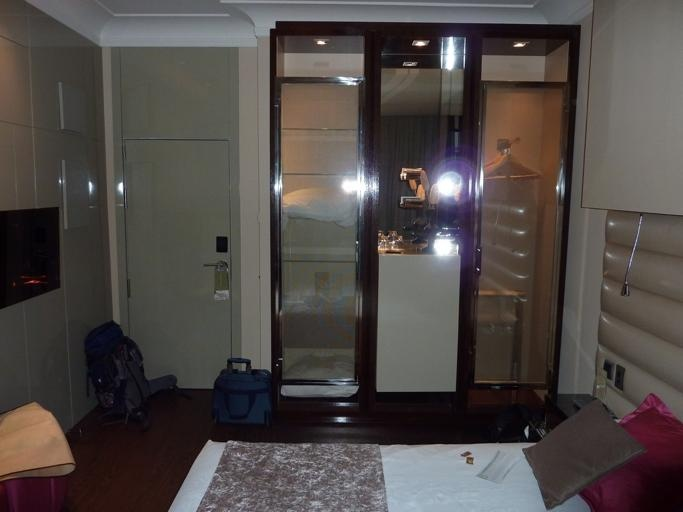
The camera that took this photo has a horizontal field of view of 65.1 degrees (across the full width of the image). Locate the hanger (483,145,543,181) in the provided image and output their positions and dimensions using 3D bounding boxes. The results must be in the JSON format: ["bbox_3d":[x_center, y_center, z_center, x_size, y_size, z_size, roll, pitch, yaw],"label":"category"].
[{"bbox_3d":[1.282,-0.732,4.045,0.424,0.279,0.025,-1,6,-9],"label":"hanger"}]

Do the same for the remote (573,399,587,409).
[{"bbox_3d":[1.558,0.962,3.498,0.085,0.023,0.088,-5,6,-40],"label":"remote"}]

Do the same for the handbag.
[{"bbox_3d":[-0.777,1.053,4.306,0.449,0.495,0.476,1,0,-4],"label":"handbag"}]
